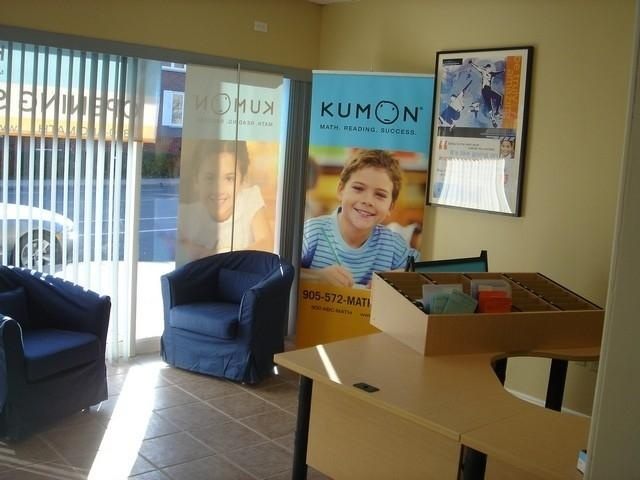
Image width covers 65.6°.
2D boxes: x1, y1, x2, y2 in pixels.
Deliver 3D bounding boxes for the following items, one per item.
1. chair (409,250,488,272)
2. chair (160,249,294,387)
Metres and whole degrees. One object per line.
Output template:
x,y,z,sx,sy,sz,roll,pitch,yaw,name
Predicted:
0.878,0.154,3.325,0.621,0.124,0.193,0,10,-18,chair
-0.869,0.654,4.734,1.121,1.104,0.979,8,4,39,chair
